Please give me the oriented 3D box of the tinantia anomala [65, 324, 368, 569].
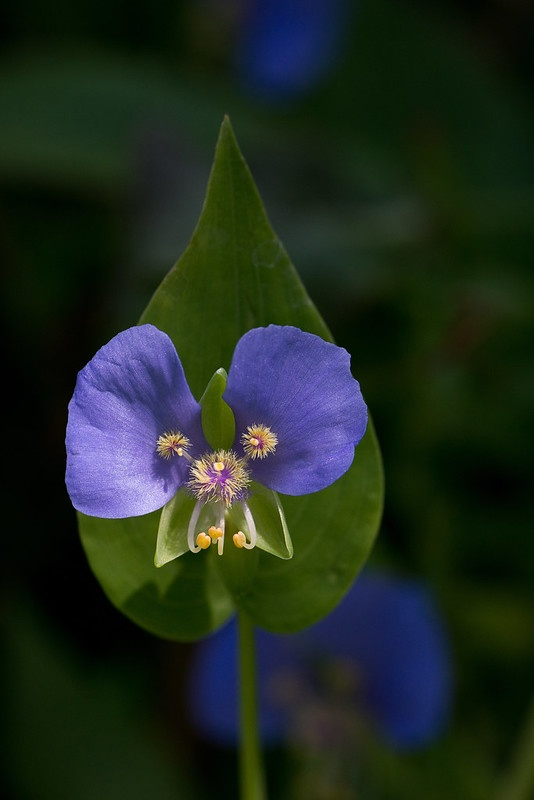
[{"bbox_3d":[-0.053,0.039,1.063,0.414,0.181,0.411,-7,35,-30],"label":"tinantia anomala"}]
